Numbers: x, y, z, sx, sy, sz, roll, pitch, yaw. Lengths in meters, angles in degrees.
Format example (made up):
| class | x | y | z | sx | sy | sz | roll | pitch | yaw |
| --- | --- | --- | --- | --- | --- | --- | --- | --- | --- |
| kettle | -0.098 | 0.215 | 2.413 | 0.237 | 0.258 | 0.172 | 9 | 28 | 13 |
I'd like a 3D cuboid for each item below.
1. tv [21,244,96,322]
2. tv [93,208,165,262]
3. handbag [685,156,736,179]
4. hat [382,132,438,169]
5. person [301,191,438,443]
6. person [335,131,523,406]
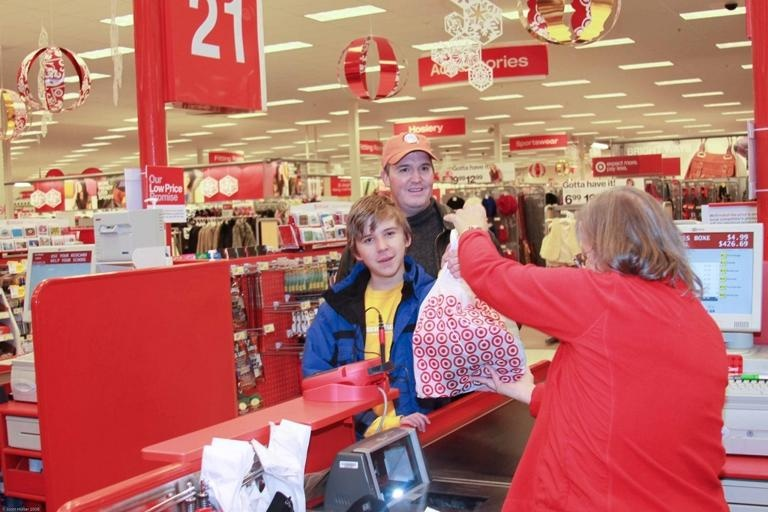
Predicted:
| class | x | y | z | sx | sy | sz | roll | pitch | yaw |
| --- | --- | --- | --- | --- | --- | --- | --- | --- | --- |
| tv | -3.134 | 0.260 | 5.413 | 0.749 | 0.730 | 0.071 | -3 | -9 | 10 |
| tv | -1.817 | -0.144 | 4.041 | 0.497 | 0.351 | 0.335 | -2 | 1 | 7 |
| handbag | 7.843 | -2.129 | 13.424 | 0.782 | 0.493 | 0.431 | -2 | -5 | 34 |
| hat | 0.130 | -0.637 | 3.331 | 0.293 | 0.203 | 0.388 | -8 | 7 | -13 |
| person | -0.024 | 0.243 | 2.629 | 0.599 | 0.896 | 0.649 | -3 | 3 | 42 |
| person | 0.156 | 0.224 | 3.513 | 0.858 | 1.891 | 0.655 | -5 | 13 | 4 |
